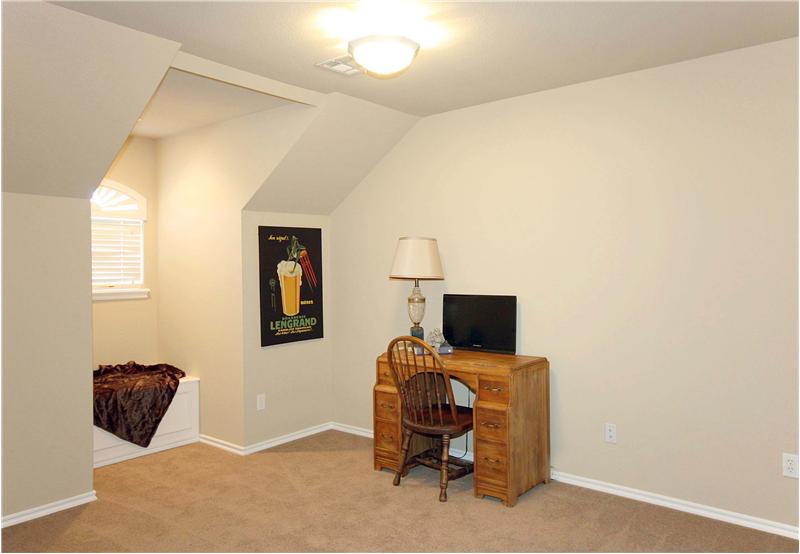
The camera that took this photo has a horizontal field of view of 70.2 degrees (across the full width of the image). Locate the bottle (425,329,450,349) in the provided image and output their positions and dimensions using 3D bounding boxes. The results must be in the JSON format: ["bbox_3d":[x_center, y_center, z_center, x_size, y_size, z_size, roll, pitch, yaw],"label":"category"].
[{"bbox_3d":[0.312,0.508,4.716,0.159,0.106,0.159,0,-1,0],"label":"bottle"}]

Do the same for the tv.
[{"bbox_3d":[0.658,0.370,4.734,0.630,0.459,0.055,1,5,20],"label":"tv"}]

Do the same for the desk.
[{"bbox_3d":[0.480,1.119,4.637,1.257,0.963,0.720,1,4,38],"label":"desk"}]
